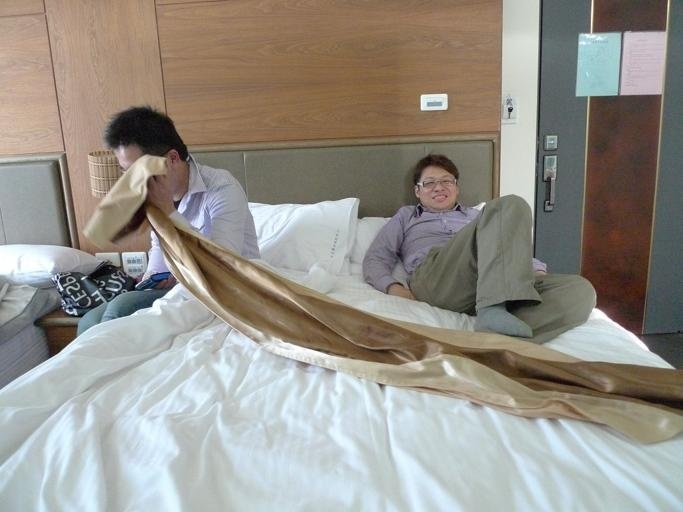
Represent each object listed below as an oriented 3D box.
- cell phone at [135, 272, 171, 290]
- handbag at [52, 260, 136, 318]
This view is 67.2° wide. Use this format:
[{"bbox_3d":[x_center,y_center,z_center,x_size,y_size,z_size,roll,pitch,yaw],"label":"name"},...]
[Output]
[{"bbox_3d":[-0.870,0.111,2.374,0.144,0.041,0.073,-30,22,-19],"label":"cell phone"},{"bbox_3d":[-1.273,0.152,2.609,0.326,0.147,0.284,22,36,26],"label":"handbag"}]
